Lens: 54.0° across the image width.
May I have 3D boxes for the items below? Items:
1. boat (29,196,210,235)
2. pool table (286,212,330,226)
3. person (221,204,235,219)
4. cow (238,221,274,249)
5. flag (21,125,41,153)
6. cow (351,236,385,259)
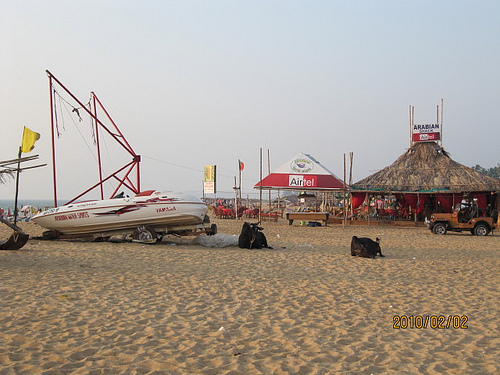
[{"bbox_3d":[-4.550,1.057,18.234,5.571,1.136,1.518,-3,-21,2],"label":"boat"},{"bbox_3d":[3.507,1.786,29.485,2.302,0.694,0.329,2,5,15],"label":"pool table"},{"bbox_3d":[-1.747,2.179,41.439,0.887,0.759,2.048,-2,6,-29],"label":"person"},{"bbox_3d":[-0.114,1.665,18.091,1.261,0.899,1.698,-1,-7,-16],"label":"cow"},{"bbox_3d":[-7.444,-1.609,16.241,0.627,0.798,0.552,4,6,32],"label":"flag"},{"bbox_3d":[3.718,1.866,15.485,0.676,0.643,1.611,-7,-12,42],"label":"cow"}]
